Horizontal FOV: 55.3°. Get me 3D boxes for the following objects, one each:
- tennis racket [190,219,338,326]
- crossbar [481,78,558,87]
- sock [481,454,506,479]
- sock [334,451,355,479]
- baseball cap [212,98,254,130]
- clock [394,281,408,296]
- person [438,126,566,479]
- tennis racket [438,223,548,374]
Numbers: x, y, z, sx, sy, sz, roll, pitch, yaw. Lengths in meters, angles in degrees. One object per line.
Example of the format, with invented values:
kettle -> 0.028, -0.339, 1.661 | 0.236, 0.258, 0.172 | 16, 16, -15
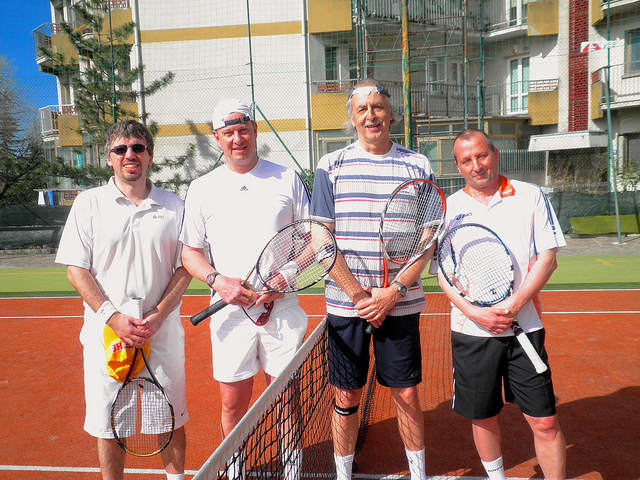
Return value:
tennis racket -> -0.474, 0.373, 5.490 | 1.595, 0.676, 0.141 | -36, -12, 7
crossbar -> 7.281, -5.846, 22.445 | 2.406, 0.123, 0.996 | 4, 14, 42
sock -> 1.501, 1.975, 5.316 | 0.173, 0.191, 0.114 | -3, 9, 8
sock -> 0.211, 1.989, 5.375 | 0.167, 0.320, 0.199 | 4, 5, -2
baseball cap -> -0.790, -1.146, 5.483 | 0.340, 0.257, 0.224 | -7, 10, -11
clock -> 0.684, 0.404, 5.252 | 0.067, 0.111, 0.103 | -43, 7, -32
person -> 1.552, 0.532, 5.300 | 1.021, 2.983, 0.616 | 0, 10, 23
tennis racket -> 1.455, 0.436, 5.255 | 0.576, 1.554, 0.118 | -30, -11, 10
